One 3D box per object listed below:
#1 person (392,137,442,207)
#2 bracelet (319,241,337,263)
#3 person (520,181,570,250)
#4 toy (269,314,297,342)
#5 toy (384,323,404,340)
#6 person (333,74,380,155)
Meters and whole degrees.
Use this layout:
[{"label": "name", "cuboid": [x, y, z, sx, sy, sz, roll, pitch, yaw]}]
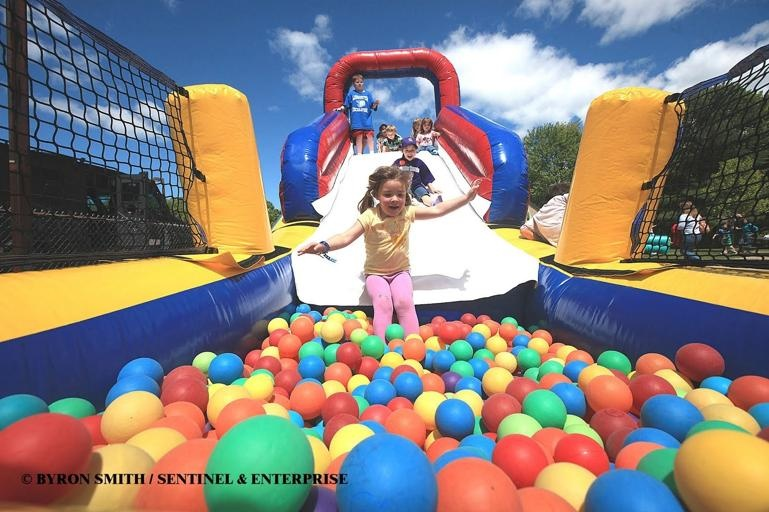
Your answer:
[{"label": "person", "cuboid": [0.443, -1.140, 5.996, 0.777, 0.870, 1.114, -6, 24, -6]}, {"label": "bracelet", "cuboid": [-0.518, -0.053, 3.931, 0.143, 0.189, 0.075, 26, 59, 30]}, {"label": "person", "cuboid": [1.966, -0.479, 5.334, 0.513, 0.601, 1.203, 3, 8, 20]}, {"label": "toy", "cuboid": [-0.925, 0.663, 3.909, 0.172, 0.211, 0.172, 10, -27, -6]}, {"label": "toy", "cuboid": [0.096, 0.666, 3.799, 0.127, 0.153, 0.129, 4, -9, 0]}, {"label": "person", "cuboid": [-0.482, -2.880, 8.725, 0.700, 1.675, 0.985, 0, 7, -7]}]
